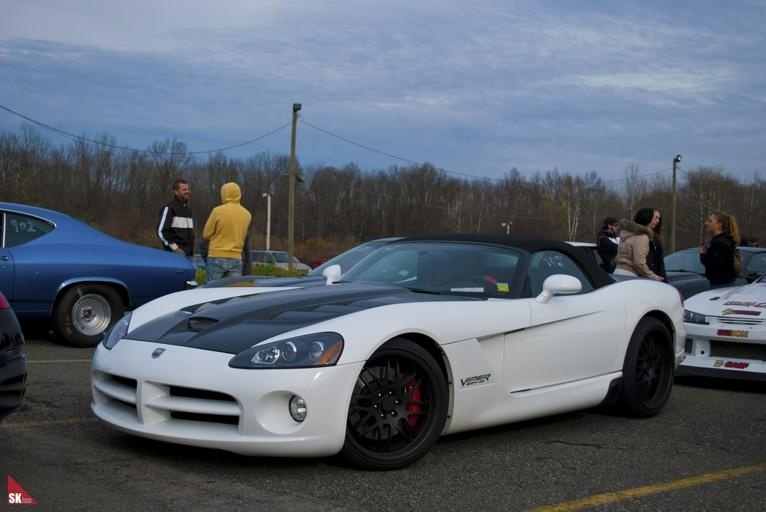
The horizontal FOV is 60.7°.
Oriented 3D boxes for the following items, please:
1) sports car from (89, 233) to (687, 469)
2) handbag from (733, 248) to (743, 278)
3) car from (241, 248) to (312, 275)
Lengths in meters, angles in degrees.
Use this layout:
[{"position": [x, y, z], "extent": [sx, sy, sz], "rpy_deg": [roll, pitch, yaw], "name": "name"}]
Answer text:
[{"position": [0.217, 0.669, 5.457], "extent": [4.771, 1.680, 1.504], "rpy_deg": [0, 5, -29], "name": "sports car"}, {"position": [5.570, 0.130, 10.307], "extent": [0.127, 0.504, 0.334], "rpy_deg": [1, 3, 37], "name": "handbag"}, {"position": [-4.335, 0.233, 27.600], "extent": [2.887, 1.524, 1.668], "rpy_deg": [-2, 0, 26], "name": "car"}]
